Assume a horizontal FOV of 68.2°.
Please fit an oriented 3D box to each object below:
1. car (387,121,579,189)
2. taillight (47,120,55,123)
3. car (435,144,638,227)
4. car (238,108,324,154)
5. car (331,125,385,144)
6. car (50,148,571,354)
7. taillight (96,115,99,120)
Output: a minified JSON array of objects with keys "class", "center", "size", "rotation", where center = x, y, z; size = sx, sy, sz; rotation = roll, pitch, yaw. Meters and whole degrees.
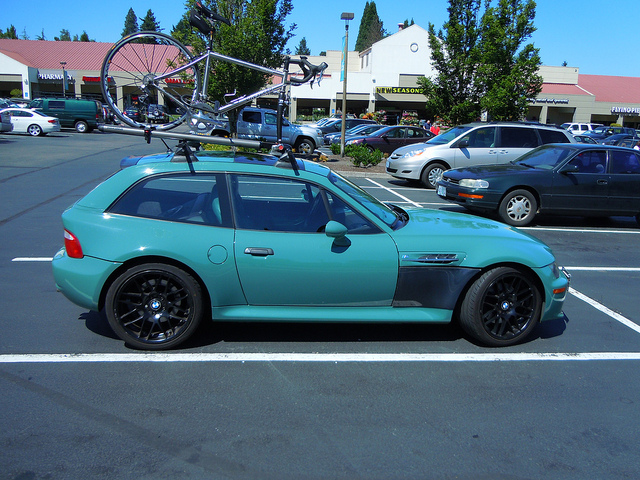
[{"class":"car","center":[4.847,-2.464,14.270],"size":[5.493,1.485,2.248],"rotation":[1,5,2]},{"class":"taillight","center":[-15.732,-6.994,27.562],"size":[0.096,0.149,0.347],"rotation":[16,20,42]},{"class":"car","center":[4.893,-1.316,10.524],"size":[4.587,1.141,1.759],"rotation":[2,9,0]},{"class":"car","center":[-1.888,-5.409,22.561],"size":[4.829,1.797,1.952],"rotation":[9,33,17]},{"class":"car","center":[2.008,-5.725,25.036],"size":[3.567,0.978,1.457],"rotation":[-2,20,-6]},{"class":"car","center":[0.012,0.012,5.091],"size":[4.992,1.344,2.110],"rotation":[0,10,-4]},{"class":"taillight","center":[-14.879,-8.266,31.496],"size":[0.178,0.293,0.435],"rotation":[-5,15,-22]}]
